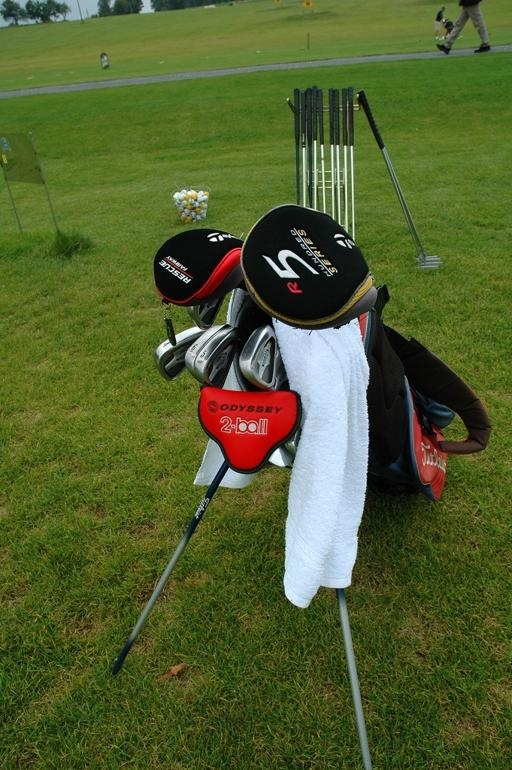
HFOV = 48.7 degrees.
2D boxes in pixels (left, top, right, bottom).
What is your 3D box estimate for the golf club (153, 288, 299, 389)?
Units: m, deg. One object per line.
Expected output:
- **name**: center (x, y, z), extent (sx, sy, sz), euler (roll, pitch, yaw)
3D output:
- **golf club**: center (-0.058, -0.110, 1.916), extent (0.414, 0.202, 0.397), euler (9, 56, 25)
